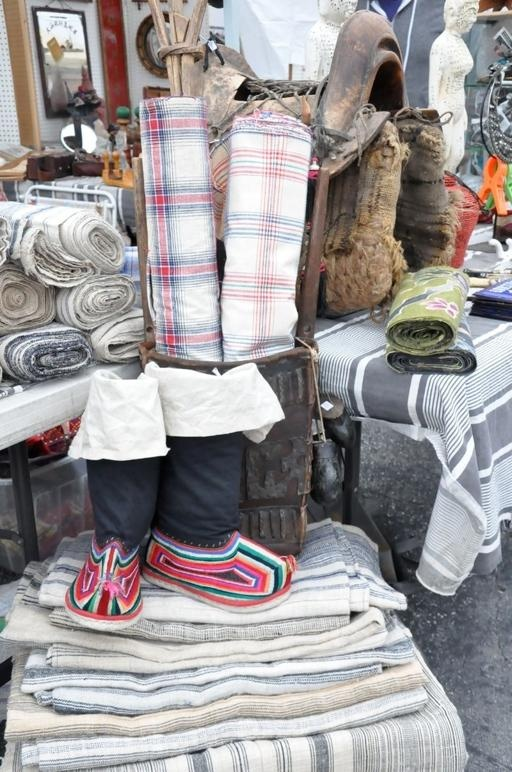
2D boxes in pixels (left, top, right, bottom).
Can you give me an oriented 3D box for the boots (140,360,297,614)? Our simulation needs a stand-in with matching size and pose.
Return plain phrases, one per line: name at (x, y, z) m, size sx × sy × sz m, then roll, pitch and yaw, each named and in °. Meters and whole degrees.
boots at (-0.045, 0.139, 0.893) m, size 0.271 × 0.337 × 0.178 m, roll 4°, pitch 1°, yaw 17°
